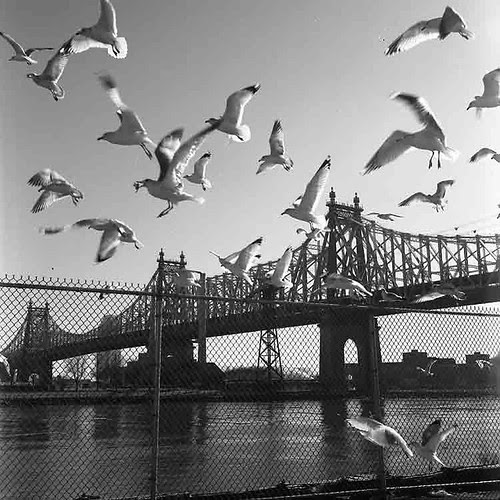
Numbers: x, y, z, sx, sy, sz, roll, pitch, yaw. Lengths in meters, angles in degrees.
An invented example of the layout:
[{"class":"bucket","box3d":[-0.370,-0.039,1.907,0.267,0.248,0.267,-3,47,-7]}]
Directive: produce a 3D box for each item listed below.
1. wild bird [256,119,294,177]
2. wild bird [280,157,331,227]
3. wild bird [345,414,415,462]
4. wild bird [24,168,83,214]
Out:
[{"class":"wild bird","box3d":[0.314,-1.086,9.827,0.367,0.320,0.831,0,-34,-18]},{"class":"wild bird","box3d":[0.654,-0.584,9.769,0.530,0.784,0.980,-2,-10,1]},{"class":"wild bird","box3d":[1.223,1.774,8.051,0.564,0.354,0.554,-4,-10,7]},{"class":"wild bird","box3d":[-2.127,-0.686,9.714,0.795,0.316,0.541,4,6,43]}]
